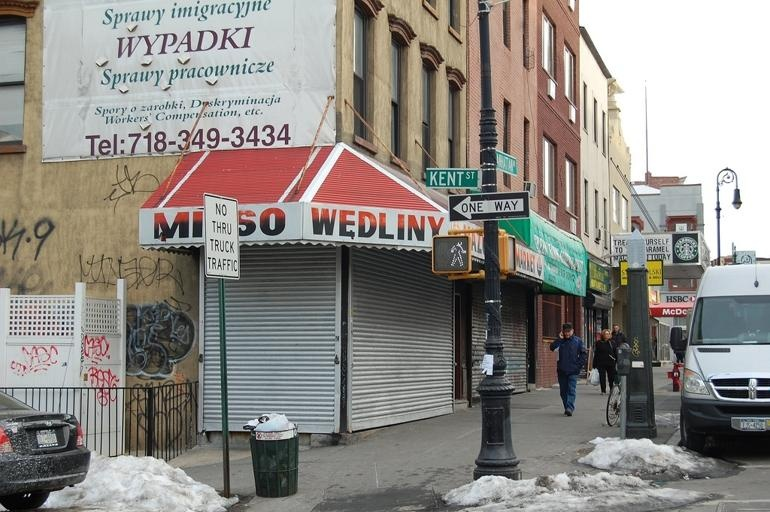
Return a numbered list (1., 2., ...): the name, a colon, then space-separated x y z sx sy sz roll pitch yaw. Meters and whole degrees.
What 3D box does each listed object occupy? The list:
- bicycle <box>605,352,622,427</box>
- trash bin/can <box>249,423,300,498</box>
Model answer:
1. bicycle: 5.270 3.342 26.425 0.339 1.250 0.960 -2 -6 10
2. trash bin/can: -1.933 3.828 20.850 1.035 1.511 1.063 0 -9 -3
